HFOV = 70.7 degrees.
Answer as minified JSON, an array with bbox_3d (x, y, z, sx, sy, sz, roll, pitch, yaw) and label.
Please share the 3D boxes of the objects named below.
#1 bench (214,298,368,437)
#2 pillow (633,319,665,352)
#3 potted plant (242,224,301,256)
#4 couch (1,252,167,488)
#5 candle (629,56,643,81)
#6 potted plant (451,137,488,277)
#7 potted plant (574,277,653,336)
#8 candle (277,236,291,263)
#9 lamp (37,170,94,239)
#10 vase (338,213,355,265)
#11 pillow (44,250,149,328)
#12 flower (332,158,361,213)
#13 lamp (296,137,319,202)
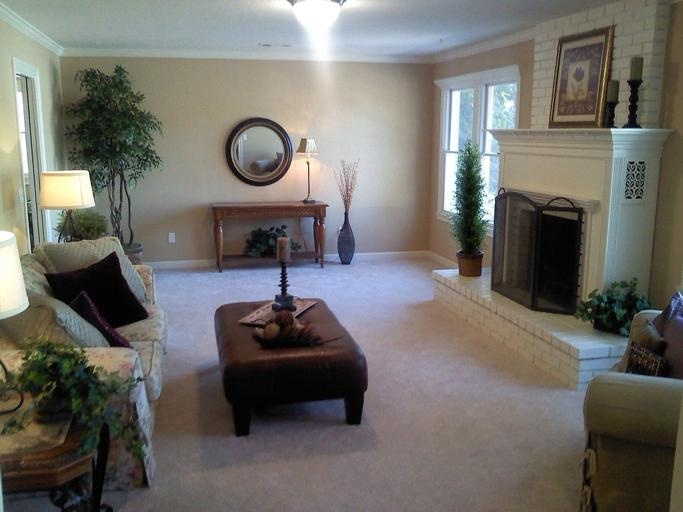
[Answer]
[{"bbox_3d":[-0.413,0.733,3.504,0.886,0.554,1.337,-1,9,-14],"label":"bench"},{"bbox_3d":[1.607,0.433,2.513,0.042,0.147,0.110,14,53,-8],"label":"pillow"},{"bbox_3d":[-1.098,-0.264,6.814,0.656,0.352,0.525,-14,-13,38],"label":"potted plant"},{"bbox_3d":[-1.244,0.557,2.329,0.371,0.472,1.068,-4,18,-20],"label":"couch"},{"bbox_3d":[2.214,-1.415,3.624,0.095,0.198,0.230,8,16,29],"label":"candle"},{"bbox_3d":[1.354,-0.503,5.074,0.364,1.369,0.454,3,14,14],"label":"potted plant"},{"bbox_3d":[2.037,0.390,3.707,0.380,0.276,0.327,-1,-10,-29],"label":"potted plant"},{"bbox_3d":[-0.409,-0.040,3.367,0.084,0.193,0.174,-2,14,-9],"label":"candle"},{"bbox_3d":[-2.506,-0.438,4.430,0.442,0.676,0.456,-3,13,-21],"label":"lamp"},{"bbox_3d":[0.064,-0.282,6.923,0.250,0.726,0.321,0,14,1],"label":"vase"},{"bbox_3d":[-1.596,0.240,3.272,0.150,0.478,0.483,-27,-5,38],"label":"pillow"},{"bbox_3d":[0.059,-1.035,6.956,0.262,0.712,0.327,10,17,34],"label":"flower"},{"bbox_3d":[-0.473,-1.197,6.663,0.301,0.864,0.388,-2,14,-6],"label":"lamp"}]
